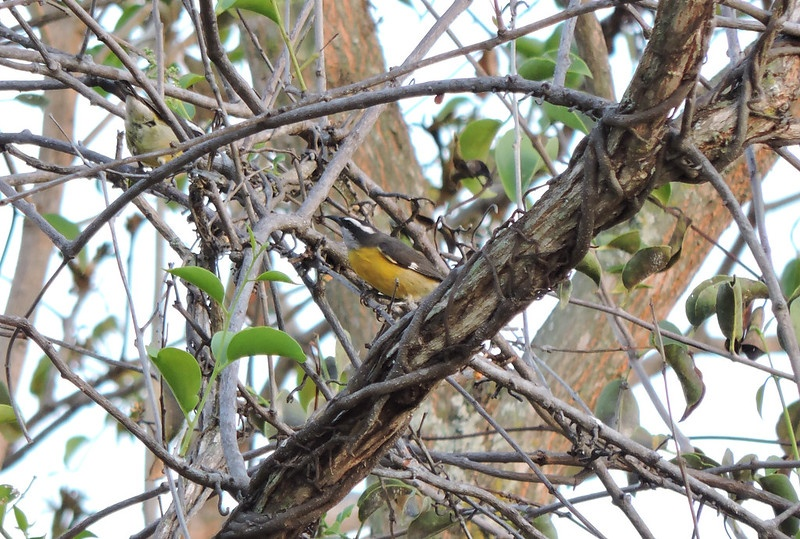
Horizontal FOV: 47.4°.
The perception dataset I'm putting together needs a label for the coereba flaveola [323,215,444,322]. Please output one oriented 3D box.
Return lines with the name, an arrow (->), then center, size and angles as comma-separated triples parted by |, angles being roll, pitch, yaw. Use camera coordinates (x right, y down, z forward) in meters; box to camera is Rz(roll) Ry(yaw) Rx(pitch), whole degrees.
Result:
coereba flaveola -> -0.254, -0.042, 5.884 | 1.023, 0.356, 0.623 | 0, -88, -13
